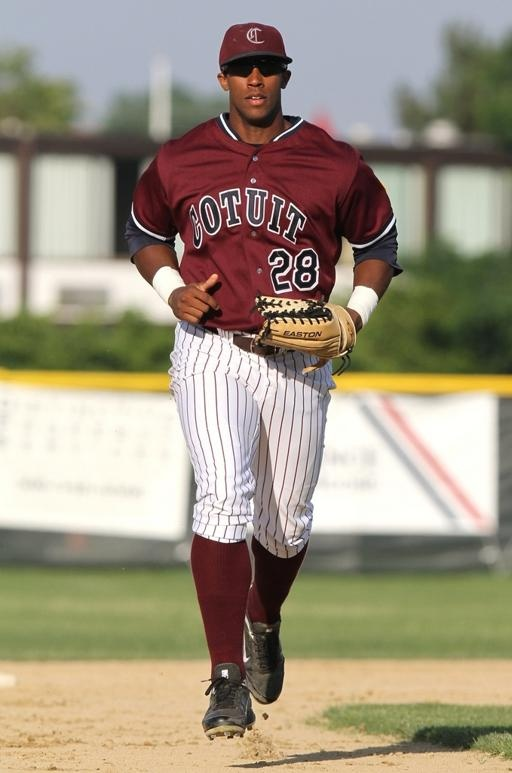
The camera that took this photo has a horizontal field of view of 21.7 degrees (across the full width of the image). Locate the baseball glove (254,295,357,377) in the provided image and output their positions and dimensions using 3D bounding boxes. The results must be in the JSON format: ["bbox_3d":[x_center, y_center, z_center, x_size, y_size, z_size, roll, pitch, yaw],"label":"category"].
[{"bbox_3d":[0.115,-0.159,3.488,0.225,0.143,0.366,10,9,36],"label":"baseball glove"}]

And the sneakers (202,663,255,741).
[{"bbox_3d":[-0.068,0.760,3.224,0.111,0.140,0.185,1,-1,-3],"label":"sneakers"}]

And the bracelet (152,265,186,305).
[{"bbox_3d":[-0.235,-0.271,3.618,0.077,0.117,0.048,-14,-29,-18],"label":"bracelet"}]

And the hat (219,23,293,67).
[{"bbox_3d":[-0.009,-0.913,3.538,0.194,0.117,0.237,0,-1,-10],"label":"hat"}]

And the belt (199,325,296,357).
[{"bbox_3d":[-0.016,-0.114,3.478,0.137,0.040,0.098,17,2,2],"label":"belt"}]

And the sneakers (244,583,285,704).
[{"bbox_3d":[0.025,0.770,3.956,0.110,0.303,0.135,-4,-1,-2],"label":"sneakers"}]

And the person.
[{"bbox_3d":[-0.030,-0.033,3.571,0.651,1.483,0.850,1,-1,19],"label":"person"}]
